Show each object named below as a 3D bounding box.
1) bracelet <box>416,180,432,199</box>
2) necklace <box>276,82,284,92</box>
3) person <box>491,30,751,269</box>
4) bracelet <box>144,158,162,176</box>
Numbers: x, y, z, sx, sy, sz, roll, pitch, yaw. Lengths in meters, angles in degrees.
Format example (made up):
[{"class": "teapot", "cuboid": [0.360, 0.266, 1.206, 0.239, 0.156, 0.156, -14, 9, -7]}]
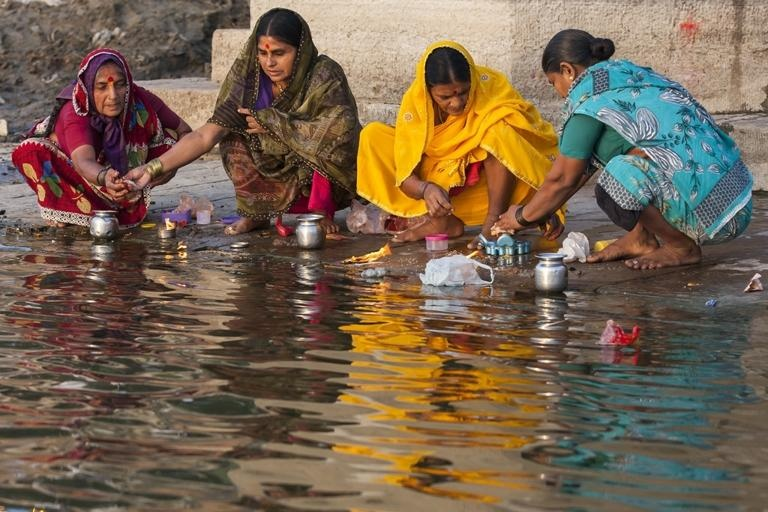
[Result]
[{"class": "bracelet", "cuboid": [0.294, -0.459, 6.560, 0.067, 0.117, 0.125, -5, 10, -12]}, {"class": "necklace", "cuboid": [-0.744, -1.230, 6.861, 0.080, 0.068, 0.023, 1, 57, 1]}, {"class": "person", "cuboid": [1.503, -0.555, 5.711, 1.358, 1.256, 0.399, 0, 13, 10]}, {"class": "bracelet", "cuboid": [-1.616, -0.629, 6.722, 0.206, 0.109, 0.125, 1, 18, -14]}]
